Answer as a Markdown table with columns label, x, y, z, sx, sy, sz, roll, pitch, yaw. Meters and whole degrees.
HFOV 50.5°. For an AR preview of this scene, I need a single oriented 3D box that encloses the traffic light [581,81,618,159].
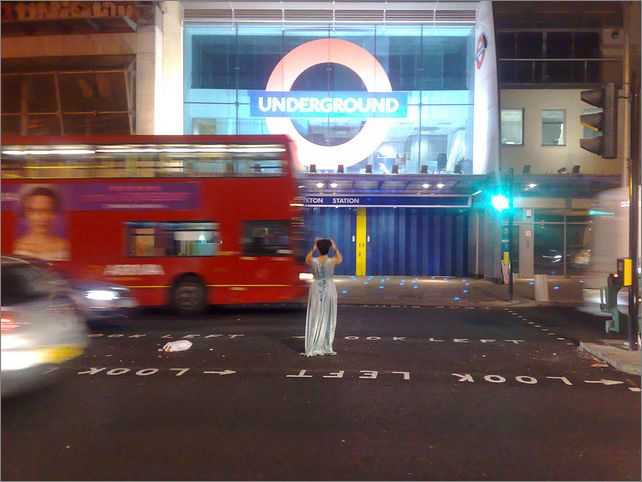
| label | x | y | z | sx | sy | sz | roll | pitch | yaw |
| --- | --- | --- | --- | --- | --- | --- | --- | --- | --- |
| traffic light | 6.057 | -2.603 | 14.717 | 0.786 | 1.614 | 0.791 | 3 | 9 | 22 |

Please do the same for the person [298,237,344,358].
| label | x | y | z | sx | sy | sz | roll | pitch | yaw |
| --- | --- | --- | --- | --- | --- | --- | --- | --- | --- |
| person | 0.009 | 1.191 | 14.597 | 0.790 | 2.509 | 0.789 | 0 | 9 | 0 |
